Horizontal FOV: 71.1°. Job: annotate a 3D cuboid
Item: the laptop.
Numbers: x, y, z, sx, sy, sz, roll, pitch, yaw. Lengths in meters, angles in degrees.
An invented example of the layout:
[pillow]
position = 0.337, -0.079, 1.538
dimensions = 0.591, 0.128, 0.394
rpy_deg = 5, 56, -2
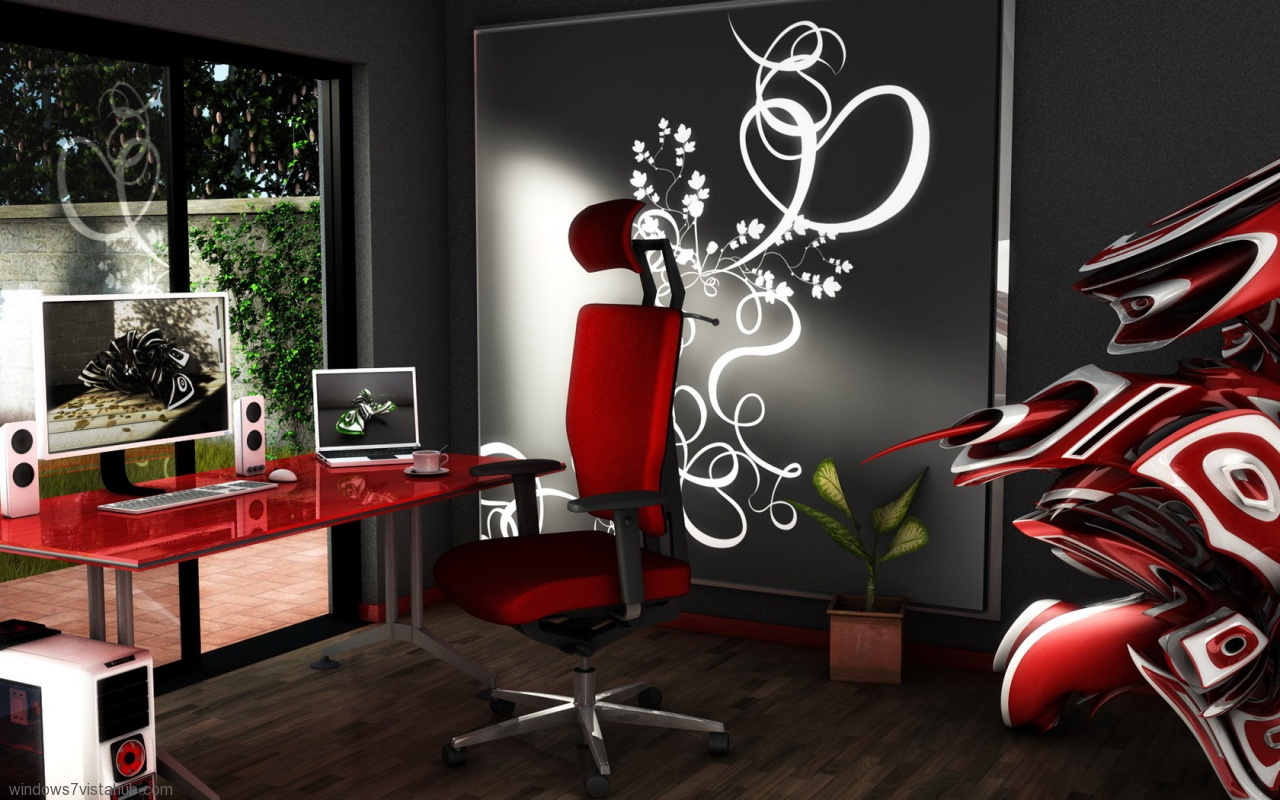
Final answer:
[laptop]
position = -1.226, 0.086, 4.124
dimensions = 0.497, 0.372, 0.344
rpy_deg = -2, 12, -27

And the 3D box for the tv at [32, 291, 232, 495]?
[tv]
position = -2.031, -0.014, 3.787
dimensions = 0.949, 0.845, 0.217
rpy_deg = -3, 1, 14

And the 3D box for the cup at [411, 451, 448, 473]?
[cup]
position = -0.933, 0.271, 3.979
dimensions = 0.138, 0.076, 0.104
rpy_deg = 1, 1, 9

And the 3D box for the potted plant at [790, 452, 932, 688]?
[potted plant]
position = 1.101, 0.820, 4.462
dimensions = 0.656, 1.025, 0.517
rpy_deg = 2, 13, 10

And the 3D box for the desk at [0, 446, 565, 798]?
[desk]
position = -1.493, 0.904, 3.776
dimensions = 1.308, 1.186, 1.811
rpy_deg = 11, 17, 41
